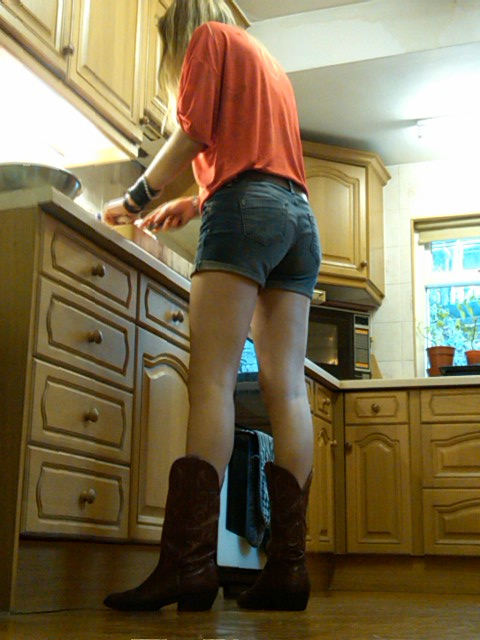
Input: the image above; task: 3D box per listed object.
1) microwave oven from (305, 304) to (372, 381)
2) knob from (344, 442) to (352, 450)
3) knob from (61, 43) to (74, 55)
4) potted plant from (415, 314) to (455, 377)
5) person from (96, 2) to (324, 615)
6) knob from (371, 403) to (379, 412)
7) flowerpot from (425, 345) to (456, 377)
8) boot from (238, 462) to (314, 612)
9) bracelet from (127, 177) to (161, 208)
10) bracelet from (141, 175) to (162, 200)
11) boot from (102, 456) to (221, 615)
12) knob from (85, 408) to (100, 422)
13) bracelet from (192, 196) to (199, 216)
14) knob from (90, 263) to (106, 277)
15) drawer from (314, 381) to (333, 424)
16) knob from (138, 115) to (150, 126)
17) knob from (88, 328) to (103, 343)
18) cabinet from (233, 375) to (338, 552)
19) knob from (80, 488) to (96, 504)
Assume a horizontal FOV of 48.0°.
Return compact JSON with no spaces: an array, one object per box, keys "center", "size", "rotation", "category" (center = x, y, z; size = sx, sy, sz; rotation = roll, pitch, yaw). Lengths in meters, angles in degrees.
[{"center":[0.594,0.206,3.610],"size":[0.481,0.447,0.301],"rotation":[4,-16,4],"category":"microwave oven"},{"center":[0.580,0.671,2.886],"size":[0.023,0.029,0.018],"rotation":[-8,-25,42],"category":"knob"},{"center":[-0.520,-0.809,1.623],"size":[0.035,0.043,0.021],"rotation":[4,8,28],"category":"knob"},{"center":[1.311,0.175,3.553],"size":[0.168,0.469,0.216],"rotation":[0,-19,14],"category":"potted plant"},{"center":[-0.022,-0.045,0.950],"size":[0.355,1.042,0.270],"rotation":[-1,-10,2],"category":"person"},{"center":[0.724,0.465,2.880],"size":[0.028,0.035,0.031],"rotation":[-2,-8,-21],"category":"knob"},{"center":[1.291,0.273,3.489],"size":[0.157,0.202,0.183],"rotation":[0,-5,4],"category":"flowerpot"},{"center":[0.056,0.368,0.928],"size":[0.118,0.237,0.085],"rotation":[-1,-10,4],"category":"boot"},{"center":[-0.190,-0.247,1.063],"size":[0.045,0.062,0.054],"rotation":[17,-31,-24],"category":"bracelet"},{"center":[-0.168,-0.257,1.060],"size":[0.039,0.034,0.042],"rotation":[34,8,-14],"category":"bracelet"},{"center":[-0.114,0.304,0.794],"size":[0.153,0.247,0.074],"rotation":[3,12,-5],"category":"boot"},{"center":[-0.276,0.176,1.004],"size":[0.020,0.023,0.019],"rotation":[-8,-6,30],"category":"knob"},{"center":[-0.108,-0.273,1.269],"size":[0.007,0.035,0.033],"rotation":[-2,-18,-10],"category":"bracelet"},{"center":[-0.293,-0.103,1.106],"size":[0.023,0.021,0.024],"rotation":[-41,-4,35],"category":"knob"},{"center":[0.422,0.417,2.757],"size":[0.105,0.157,0.211],"rotation":[-1,-7,17],"category":"drawer"},{"center":[-0.374,-0.770,2.090],"size":[0.023,0.019,0.049],"rotation":[0,-1,-3],"category":"knob"},{"center":[-0.281,0.031,1.048],"size":[0.018,0.025,0.023],"rotation":[-7,-34,17],"category":"knob"},{"center":[0.303,0.773,2.773],"size":[0.383,0.836,0.475],"rotation":[1,-18,0],"category":"cabinet"},{"center":[-0.273,0.314,0.964],"size":[0.019,0.025,0.025],"rotation":[-2,-44,0],"category":"knob"}]
